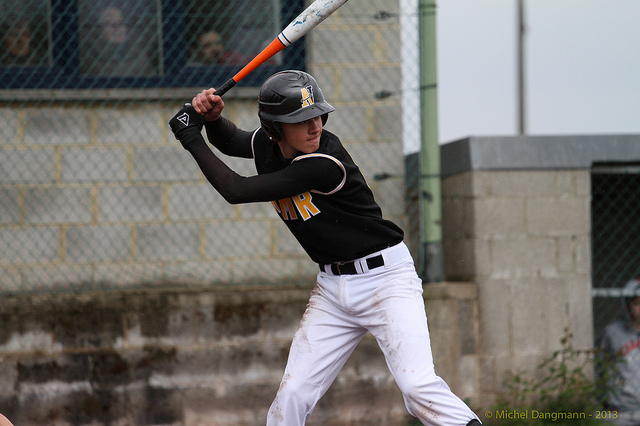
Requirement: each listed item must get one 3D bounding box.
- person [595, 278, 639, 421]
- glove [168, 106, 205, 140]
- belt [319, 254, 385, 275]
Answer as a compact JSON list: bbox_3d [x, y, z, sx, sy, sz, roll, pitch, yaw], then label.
[{"bbox_3d":[2.753,1.252,13.197,0.448,0.995,0.371,-4,1,6],"label":"person"},{"bbox_3d":[-1.072,-0.688,11.983,0.289,0.292,0.211,13,-36,-14],"label":"glove"},{"bbox_3d":[0.272,0.433,11.986,0.543,0.137,0.075,-3,1,16],"label":"belt"}]
